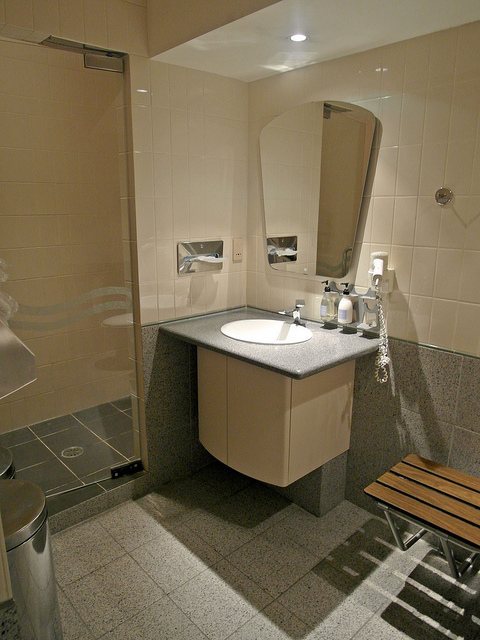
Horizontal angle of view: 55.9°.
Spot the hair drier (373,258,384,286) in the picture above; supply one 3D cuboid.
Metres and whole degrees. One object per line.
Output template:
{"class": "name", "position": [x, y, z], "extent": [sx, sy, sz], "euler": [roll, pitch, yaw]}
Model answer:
{"class": "hair drier", "position": [0.545, -0.191, 1.788], "extent": [0.036, 0.104, 0.053], "euler": [2, 8, 18]}

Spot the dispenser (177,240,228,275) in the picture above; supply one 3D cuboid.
{"class": "dispenser", "position": [-0.181, -0.320, 2.268], "extent": [0.103, 0.164, 0.311], "euler": [6, 11, 38]}

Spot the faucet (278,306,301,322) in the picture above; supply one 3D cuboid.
{"class": "faucet", "position": [0.236, -0.041, 2.174], "extent": [0.089, 0.076, 0.164], "euler": [0, 9, 5]}

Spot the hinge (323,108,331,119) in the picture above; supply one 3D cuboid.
{"class": "hinge", "position": [0.373, -0.887, 1.940], "extent": [0.003, 0.043, 0.043], "euler": [-6, 10, -36]}

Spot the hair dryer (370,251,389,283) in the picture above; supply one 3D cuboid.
{"class": "hair dryer", "position": [0.558, -0.212, 1.806], "extent": [0.057, 0.095, 0.116], "euler": [7, 22, 11]}

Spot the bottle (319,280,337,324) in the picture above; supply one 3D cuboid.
{"class": "bottle", "position": [0.397, -0.089, 2.086], "extent": [0.090, 0.190, 0.089], "euler": [-1, 8, 0]}

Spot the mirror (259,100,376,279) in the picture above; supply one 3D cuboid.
{"class": "mirror", "position": [0.362, -0.608, 2.030], "extent": [0.028, 0.842, 0.539], "euler": [-8, 15, -37]}

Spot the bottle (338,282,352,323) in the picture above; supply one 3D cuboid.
{"class": "bottle", "position": [0.463, -0.066, 1.991], "extent": [0.061, 0.157, 0.055], "euler": [1, 8, 15]}

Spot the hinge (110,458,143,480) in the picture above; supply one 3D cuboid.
{"class": "hinge", "position": [-0.569, 0.737, 2.241], "extent": [0.102, 0.091, 0.025], "euler": [-7, 22, -40]}
